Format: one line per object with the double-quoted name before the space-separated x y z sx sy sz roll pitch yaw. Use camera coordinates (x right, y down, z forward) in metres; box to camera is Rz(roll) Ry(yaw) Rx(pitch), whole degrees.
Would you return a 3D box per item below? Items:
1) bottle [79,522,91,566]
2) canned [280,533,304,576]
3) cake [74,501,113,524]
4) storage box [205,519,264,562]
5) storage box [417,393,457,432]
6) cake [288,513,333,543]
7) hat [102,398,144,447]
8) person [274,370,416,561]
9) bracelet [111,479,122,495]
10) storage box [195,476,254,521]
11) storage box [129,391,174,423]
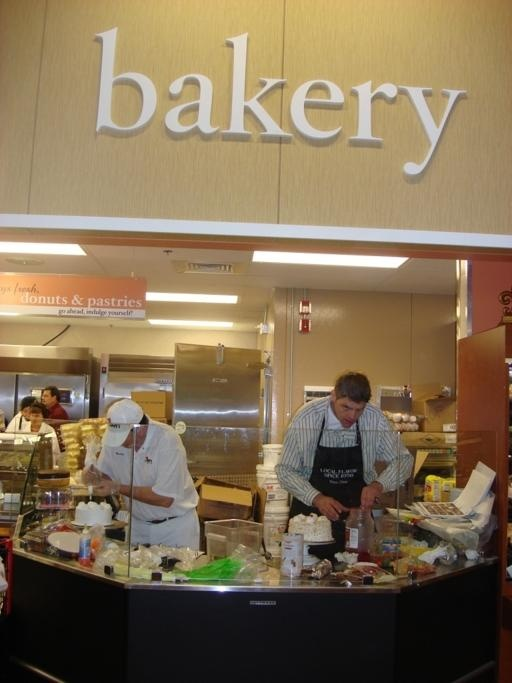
"bottle" -0.697 0.847 2.369 0.048 0.127 0.105 5 -4 -20
"canned" 0.144 0.848 2.303 0.092 0.162 0.138 4 -4 5
"cake" -0.704 0.734 2.535 0.114 0.062 0.118 -2 -8 31
"storage box" -0.094 0.796 2.371 0.181 0.137 0.181 5 -12 -21
"storage box" 1.790 0.736 5.856 0.374 0.367 0.366 8 -13 -35
"cake" 0.238 0.794 2.443 0.123 0.073 0.125 5 -12 -6
"hat" -0.657 0.412 2.890 0.186 0.210 0.392 5 -3 -11
"person" 0.489 0.566 2.982 0.678 0.811 0.898 4 -4 -8
"bracelet" -0.609 0.647 2.526 0.038 0.053 0.015 1 -11 39
"storage box" -0.257 1.393 5.025 0.376 0.247 0.393 10 1 -7
"storage box" -1.256 0.781 7.090 0.488 0.314 0.492 1 -5 -1
